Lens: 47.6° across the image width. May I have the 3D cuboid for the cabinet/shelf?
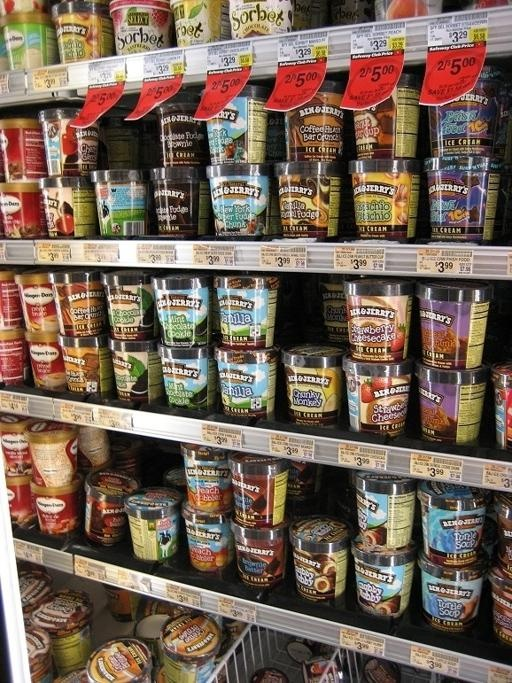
[{"bbox_3d":[-0.042,-0.022,1.557,1.451,1.421,0.649,5,23,24],"label":"cabinet/shelf"}]
